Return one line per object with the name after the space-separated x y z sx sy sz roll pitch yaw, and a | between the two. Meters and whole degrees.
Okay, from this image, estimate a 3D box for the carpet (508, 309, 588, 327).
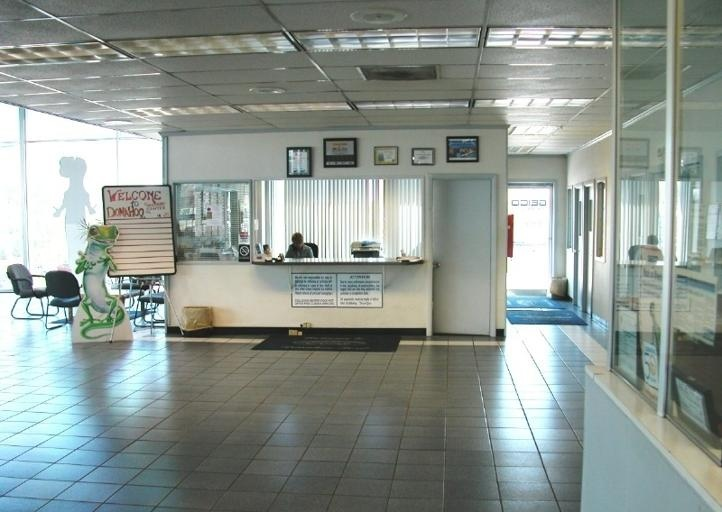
3.307 1.126 9.837 1.267 0.058 1.612 1 6 12 | carpet

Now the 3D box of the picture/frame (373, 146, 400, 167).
0.386 -1.495 8.123 0.413 0.257 0.028 0 -4 0 | picture/frame

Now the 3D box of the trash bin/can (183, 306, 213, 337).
-2.582 1.018 8.619 0.661 0.509 0.459 2 -4 -27 | trash bin/can

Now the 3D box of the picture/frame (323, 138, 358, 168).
-0.303 -1.558 8.184 0.619 0.398 0.040 1 5 5 | picture/frame

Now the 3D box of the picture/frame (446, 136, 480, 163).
1.518 -1.596 8.056 0.537 0.336 0.044 0 7 1 | picture/frame

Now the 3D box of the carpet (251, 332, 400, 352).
-0.471 1.269 7.857 1.972 0.037 1.058 0 6 6 | carpet

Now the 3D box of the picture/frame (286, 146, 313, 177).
-0.933 -1.436 8.246 0.604 0.497 0.043 2 6 6 | picture/frame
